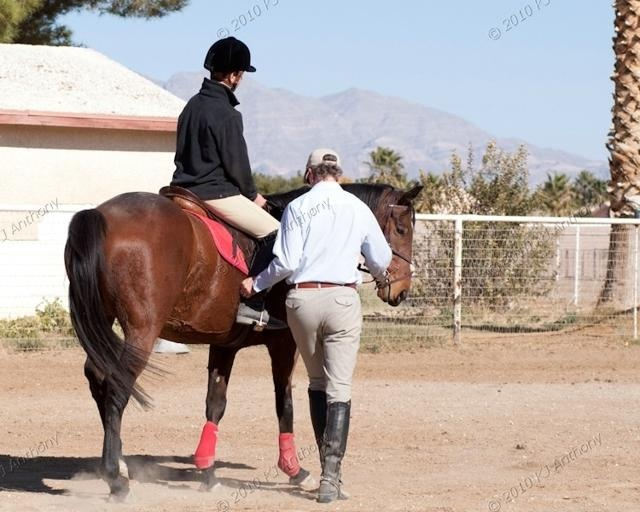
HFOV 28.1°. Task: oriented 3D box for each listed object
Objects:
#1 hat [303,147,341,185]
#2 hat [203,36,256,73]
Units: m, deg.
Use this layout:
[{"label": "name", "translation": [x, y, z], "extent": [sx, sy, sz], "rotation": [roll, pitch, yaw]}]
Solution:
[{"label": "hat", "translation": [0.014, -1.287, 17.705], "extent": [0.399, 0.563, 0.547], "rotation": [1, 3, -14]}, {"label": "hat", "translation": [-1.236, -2.904, 17.912], "extent": [0.647, 0.505, 0.834], "rotation": [23, 24, 34]}]
